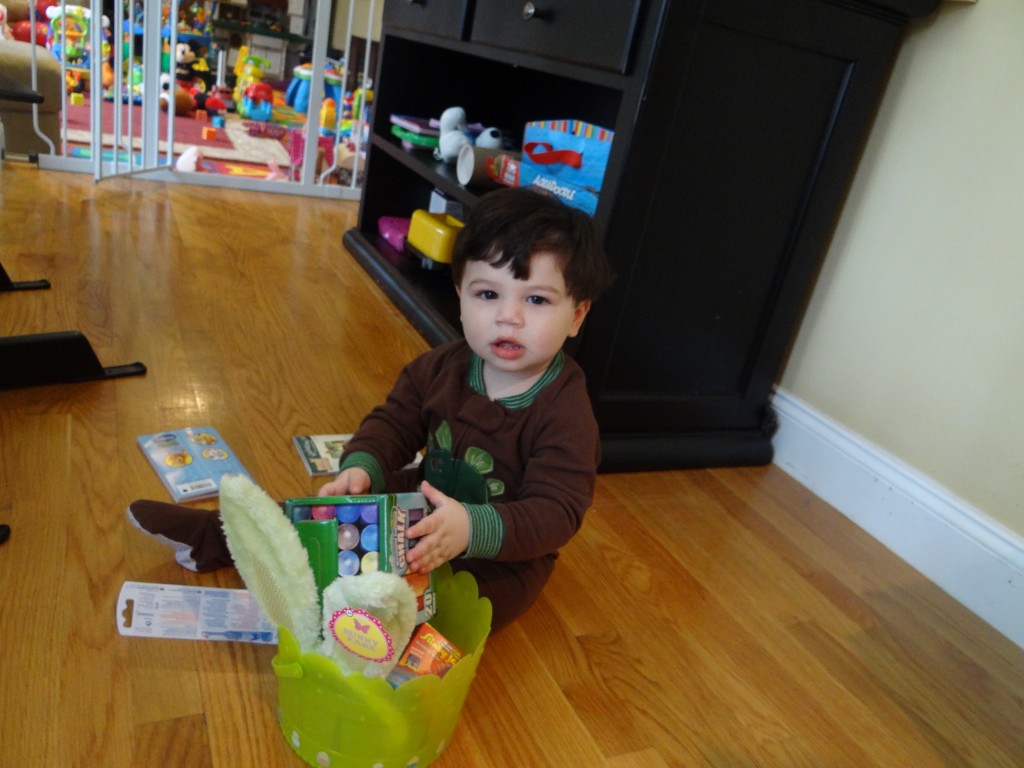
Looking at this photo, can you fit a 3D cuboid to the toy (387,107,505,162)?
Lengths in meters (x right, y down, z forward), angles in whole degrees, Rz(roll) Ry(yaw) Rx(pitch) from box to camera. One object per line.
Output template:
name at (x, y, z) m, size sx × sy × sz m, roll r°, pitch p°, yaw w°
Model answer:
toy at (-0.208, -0.746, 2.220) m, size 0.239 × 0.087 × 0.244 m, roll -11°, pitch 29°, yaw -31°

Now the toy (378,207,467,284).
toy at (-0.287, -0.475, 2.340) m, size 0.297 × 0.147 × 0.190 m, roll 28°, pitch 21°, yaw 24°

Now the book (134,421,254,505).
book at (-0.569, 0.132, 1.315) m, size 0.136 × 0.025 × 0.184 m, roll -8°, pitch 39°, yaw -47°
